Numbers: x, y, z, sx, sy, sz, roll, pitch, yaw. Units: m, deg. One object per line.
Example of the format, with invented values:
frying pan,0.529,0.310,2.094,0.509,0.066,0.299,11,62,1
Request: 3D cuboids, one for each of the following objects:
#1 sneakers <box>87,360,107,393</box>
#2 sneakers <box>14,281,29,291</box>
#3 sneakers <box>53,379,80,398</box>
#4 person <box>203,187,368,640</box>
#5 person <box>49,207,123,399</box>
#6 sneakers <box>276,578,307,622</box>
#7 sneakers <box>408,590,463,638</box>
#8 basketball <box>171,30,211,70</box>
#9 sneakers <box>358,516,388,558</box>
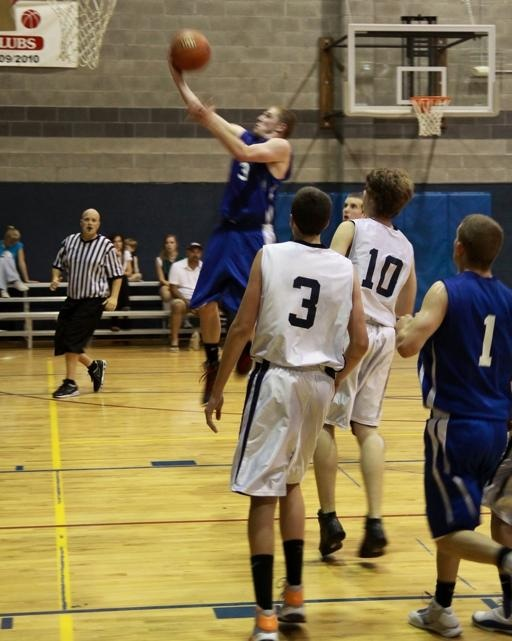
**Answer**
sneakers,-1.393,0.475,7.931,0.198,0.340,0.128,-5,8,-20
sneakers,-3.016,-0.427,11.581,0.184,0.144,0.233,2,4,9
sneakers,-1.601,0.586,7.559,0.102,0.115,0.257,2,1,26
person,0.132,0.304,2.865,0.479,1.462,0.396,0,5,-11
person,-1.442,-0.140,7.720,0.590,1.592,0.777,0,5,-11
sneakers,0.124,0.940,2.987,0.066,0.072,0.178,0,0,1
sneakers,0.598,0.977,3.018,0.072,0.108,0.198,-4,13,-42
basketball,-0.313,-1.289,4.341,0.160,0.237,0.253,2,5,13
sneakers,0.450,0.838,3.493,0.086,0.130,0.179,3,-35,-5
